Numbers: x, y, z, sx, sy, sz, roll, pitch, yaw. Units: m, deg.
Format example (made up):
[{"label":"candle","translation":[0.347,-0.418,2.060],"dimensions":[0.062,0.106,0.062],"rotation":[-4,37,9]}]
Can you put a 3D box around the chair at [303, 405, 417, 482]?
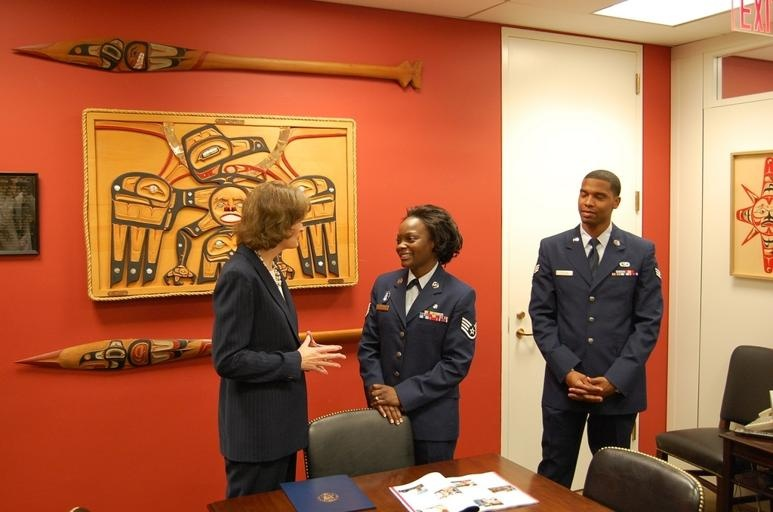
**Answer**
[{"label":"chair","translation":[-0.167,0.923,3.086],"dimensions":[0.378,0.540,0.425],"rotation":[-1,-6,-12]}]

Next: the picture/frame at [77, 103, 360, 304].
[{"label":"picture/frame","translation":[-1.133,-0.349,3.615],"dimensions":[1.352,0.866,0.052],"rotation":[-2,2,-17]}]

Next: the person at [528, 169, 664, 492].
[{"label":"person","translation":[1.299,0.474,3.633],"dimensions":[0.795,2.009,0.441],"rotation":[-1,7,12]}]
